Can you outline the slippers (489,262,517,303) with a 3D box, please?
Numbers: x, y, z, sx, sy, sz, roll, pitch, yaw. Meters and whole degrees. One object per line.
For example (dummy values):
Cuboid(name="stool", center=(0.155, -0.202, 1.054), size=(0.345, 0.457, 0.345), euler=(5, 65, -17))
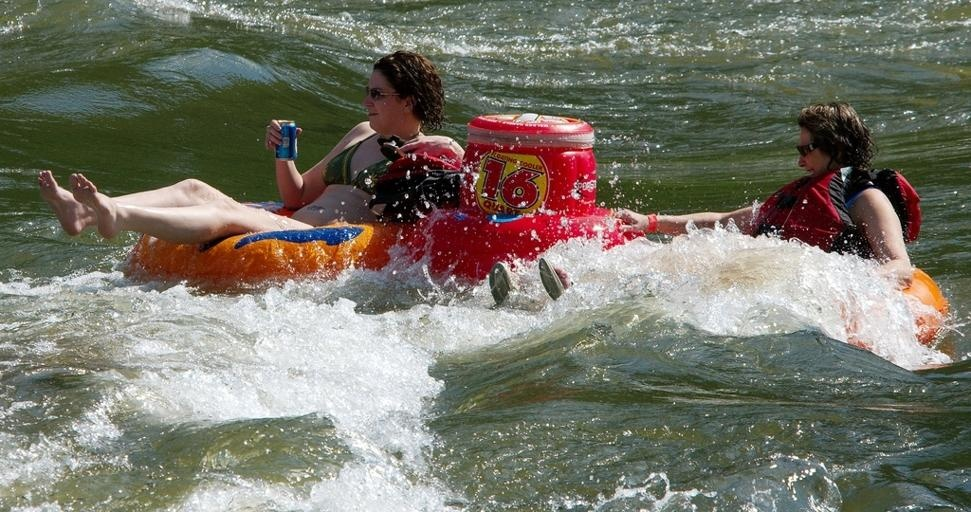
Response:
Cuboid(name="slippers", center=(0.154, 0.244, 11.681), size=(0.294, 0.348, 0.098), euler=(-8, 5, 13))
